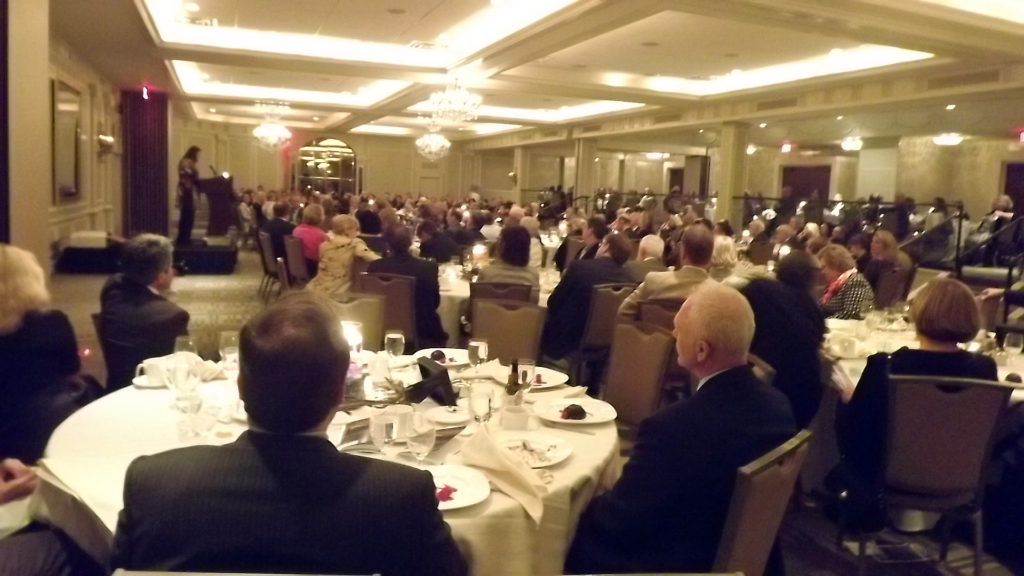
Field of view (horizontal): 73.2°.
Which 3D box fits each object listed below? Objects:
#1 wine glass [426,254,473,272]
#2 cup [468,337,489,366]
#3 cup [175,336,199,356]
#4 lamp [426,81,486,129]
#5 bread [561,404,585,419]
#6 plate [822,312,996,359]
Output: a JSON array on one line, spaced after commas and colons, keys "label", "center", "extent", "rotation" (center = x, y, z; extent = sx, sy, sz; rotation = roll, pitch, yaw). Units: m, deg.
[{"label": "wine glass", "center": [-0.717, -0.311, 8.551], "extent": [0.367, 0.134, 0.310], "rotation": [0, 7, 3]}, {"label": "cup", "center": [-0.205, 0.399, 4.408], "extent": [0.155, 0.222, 0.142], "rotation": [-1, 9, 0]}, {"label": "cup", "center": [-1.862, 0.329, 3.988], "extent": [0.116, 0.105, 0.113], "rotation": [2, 6, 0]}, {"label": "lamp", "center": [-0.949, -3.098, 11.336], "extent": [0.712, 0.623, 0.766], "rotation": [-1, 9, -15]}, {"label": "bread", "center": [0.360, 0.710, 3.972], "extent": [0.094, 0.050, 0.090], "rotation": [1, -4, -13]}, {"label": "plate", "center": [2.855, 0.403, 5.553], "extent": [0.705, 0.177, 0.679], "rotation": [-8, 14, -4]}]
